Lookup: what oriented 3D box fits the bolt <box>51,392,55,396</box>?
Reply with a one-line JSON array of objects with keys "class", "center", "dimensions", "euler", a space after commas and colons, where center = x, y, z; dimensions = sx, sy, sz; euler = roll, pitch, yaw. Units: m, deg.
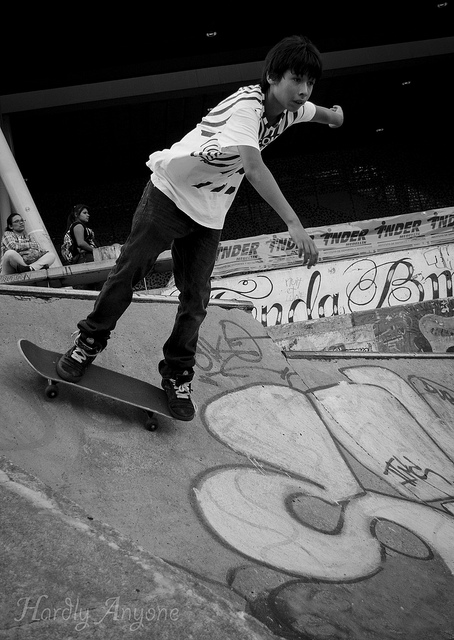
[{"class": "bolt", "center": [-0.702, 0.296, 1.990], "dimensions": [0.012, 0.014, 0.003], "euler": [5, 5, -20]}]

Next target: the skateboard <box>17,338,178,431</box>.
[{"class": "skateboard", "center": [-0.539, 0.289, 2.173], "dimensions": [0.749, 0.176, 0.304], "euler": [19, 5, -16]}]

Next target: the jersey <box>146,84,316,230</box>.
[{"class": "jersey", "center": [-0.013, -0.667, 2.092], "dimensions": [0.676, 0.567, 0.517], "euler": [0, 29, 2]}]

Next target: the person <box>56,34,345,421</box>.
[{"class": "person", "center": [-0.057, -0.411, 2.166], "dimensions": [0.801, 1.651, 0.791], "euler": [18, -1, -17]}]

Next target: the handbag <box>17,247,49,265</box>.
[{"class": "handbag", "center": [-2.588, -0.861, 6.594], "dimensions": [0.351, 0.117, 0.195], "euler": [-8, 54, -51]}]
